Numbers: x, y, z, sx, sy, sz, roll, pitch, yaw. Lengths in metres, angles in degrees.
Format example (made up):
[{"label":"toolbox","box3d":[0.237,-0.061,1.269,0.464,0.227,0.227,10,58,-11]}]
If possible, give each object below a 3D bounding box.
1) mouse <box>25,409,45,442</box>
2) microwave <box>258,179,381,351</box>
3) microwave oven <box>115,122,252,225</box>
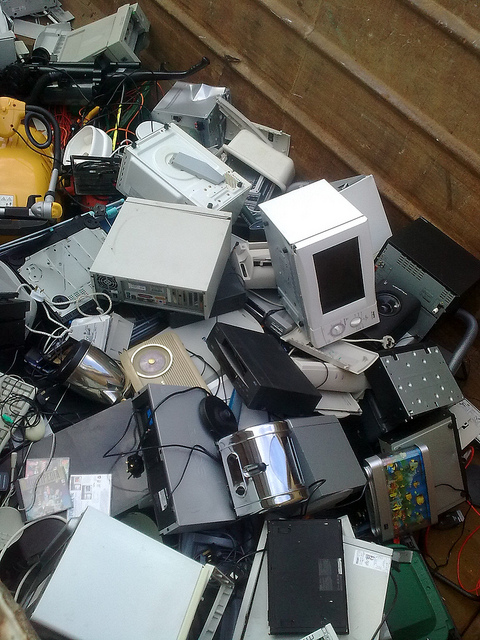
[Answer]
[{"label":"mouse","box3d":[-0.865,0.447,2.030,0.077,0.058,0.136,-4,54,-19]},{"label":"microwave","box3d":[0.391,-0.262,2.445,0.500,0.630,0.666,-17,58,-27]},{"label":"microwave oven","box3d":[-0.394,-0.688,2.912,0.782,0.532,0.555,23,5,-19]}]
